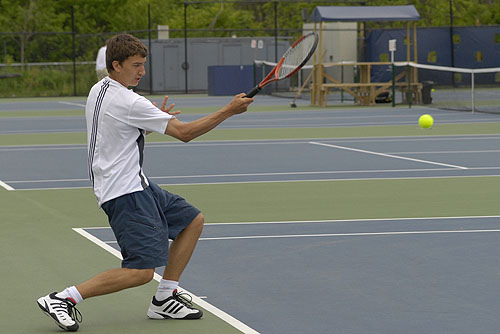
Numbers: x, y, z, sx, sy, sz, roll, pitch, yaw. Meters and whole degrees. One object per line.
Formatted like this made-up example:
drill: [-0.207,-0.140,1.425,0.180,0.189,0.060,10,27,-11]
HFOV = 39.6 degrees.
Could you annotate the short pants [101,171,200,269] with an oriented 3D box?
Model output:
short pants: [-0.799,0.461,5.552,0.744,0.652,0.320,-3,7,-12]

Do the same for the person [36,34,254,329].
person: [-0.921,0.108,5.506,1.376,2.308,0.483,-4,7,-17]

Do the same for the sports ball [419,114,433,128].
sports ball: [4.253,-1.093,16.802,0.288,0.322,0.530,0,7,13]
